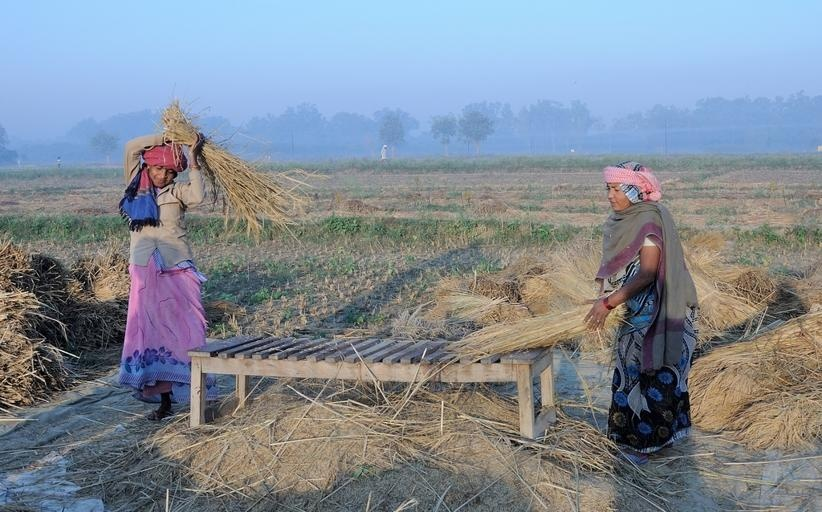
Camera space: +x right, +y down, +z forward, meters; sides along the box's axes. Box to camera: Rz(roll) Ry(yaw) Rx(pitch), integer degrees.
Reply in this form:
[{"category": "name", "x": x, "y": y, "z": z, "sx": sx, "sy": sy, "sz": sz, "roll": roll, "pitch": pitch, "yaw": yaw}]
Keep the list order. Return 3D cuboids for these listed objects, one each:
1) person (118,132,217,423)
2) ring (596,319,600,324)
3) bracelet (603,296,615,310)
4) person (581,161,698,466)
[{"category": "person", "x": -2.398, "y": 0.190, "z": 7.667, "sx": 0.963, "sy": 2.716, "sz": 0.402, "roll": -6, "pitch": 7, "yaw": -16}, {"category": "ring", "x": 1.639, "y": 0.569, "z": 6.930, "sx": 0.029, "sy": 0.007, "sz": 0.029, "roll": -7, "pitch": 24, "yaw": 3}, {"category": "bracelet", "x": 1.713, "y": 0.406, "z": 6.862, "sx": 0.054, "sy": 0.095, "sz": 0.106, "roll": -36, "pitch": 14, "yaw": 0}, {"category": "person", "x": 2.049, "y": 0.476, "z": 6.950, "sx": 0.857, "sy": 2.612, "sz": 0.431, "roll": -2, "pitch": 8, "yaw": 19}]
